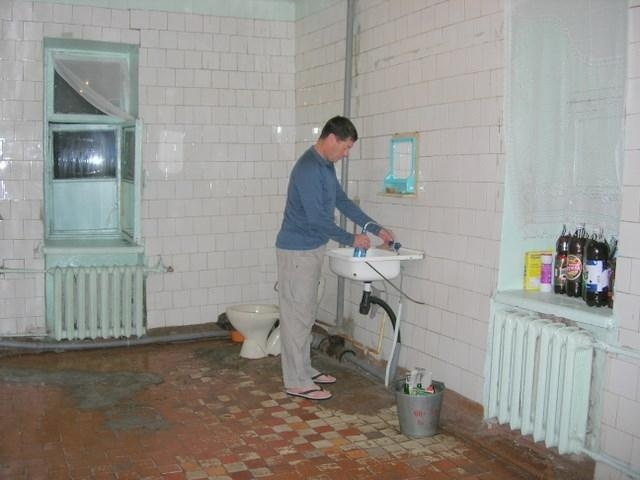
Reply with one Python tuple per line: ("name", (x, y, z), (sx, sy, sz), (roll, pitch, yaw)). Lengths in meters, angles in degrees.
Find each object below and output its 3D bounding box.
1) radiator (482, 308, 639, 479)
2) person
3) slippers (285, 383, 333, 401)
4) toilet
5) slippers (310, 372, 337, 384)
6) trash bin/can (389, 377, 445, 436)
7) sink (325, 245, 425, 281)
("radiator", (1.413, 0.894, 2.918), (0.136, 0.743, 0.862), (-3, 10, -28))
("person", (0.019, 0.128, 3.940), (0.713, 2.109, 0.553), (-1, 8, -6))
("slippers", (-0.076, 1.158, 3.871), (0.246, 0.095, 0.130), (1, 5, 9))
("toilet", (-0.563, 0.769, 4.778), (0.666, 0.667, 0.421), (4, -21, -18))
("slippers", (0.028, 1.094, 4.080), (0.199, 0.060, 0.081), (-2, 7, -21))
("trash bin/can", (0.657, 1.097, 3.385), (0.316, 0.258, 0.319), (-1, 1, -2))
("sink", (0.407, 0.180, 3.809), (0.395, 0.163, 0.393), (0, 4, -22))
